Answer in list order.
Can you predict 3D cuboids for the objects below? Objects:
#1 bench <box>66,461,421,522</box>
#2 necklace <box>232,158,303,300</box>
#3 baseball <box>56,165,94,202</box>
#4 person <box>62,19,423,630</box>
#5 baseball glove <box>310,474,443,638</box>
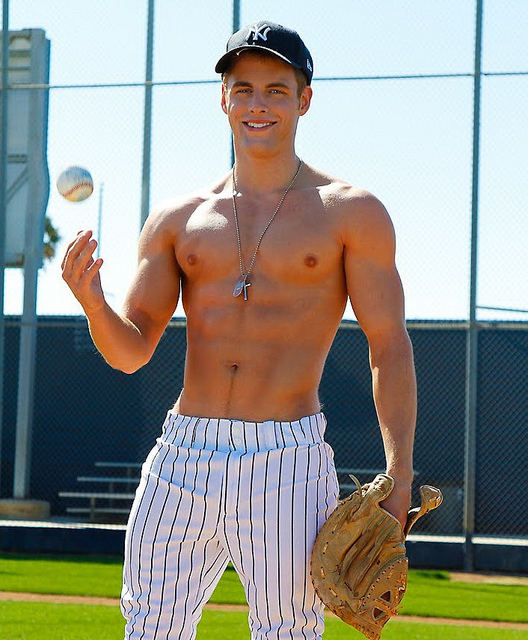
[{"bbox_3d":[-0.231,1.302,9.801,1.797,0.438,0.336,4,-3,-34],"label":"bench"},{"bbox_3d":[0.002,-0.316,4.273,0.245,0.477,0.318,2,0,-1],"label":"necklace"},{"bbox_3d":[-0.748,-0.534,4.889,0.137,0.143,0.075,3,0,-14],"label":"baseball"},{"bbox_3d":[-0.044,-0.015,4.122,1.107,1.979,0.578,2,0,8],"label":"person"},{"bbox_3d":[0.337,0.647,3.786,0.325,0.538,0.180,23,0,1],"label":"baseball glove"}]
